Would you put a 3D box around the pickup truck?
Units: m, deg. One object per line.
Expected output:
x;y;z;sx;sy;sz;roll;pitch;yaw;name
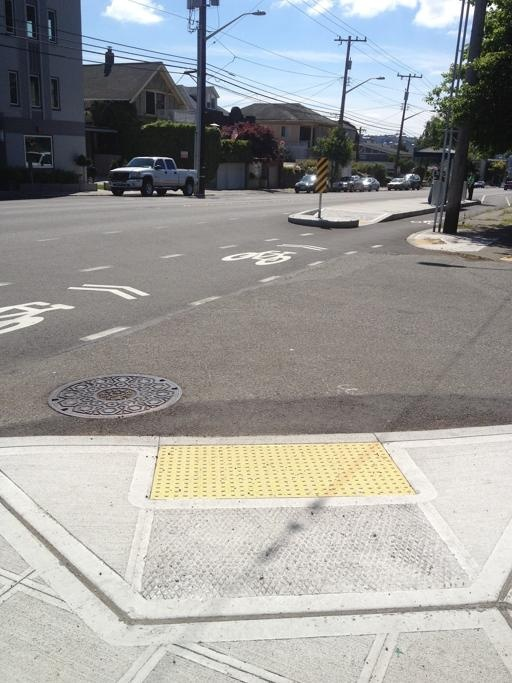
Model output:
-6.408;-9.885;37.721;2.902;2.066;5.429;12;21;32;pickup truck
